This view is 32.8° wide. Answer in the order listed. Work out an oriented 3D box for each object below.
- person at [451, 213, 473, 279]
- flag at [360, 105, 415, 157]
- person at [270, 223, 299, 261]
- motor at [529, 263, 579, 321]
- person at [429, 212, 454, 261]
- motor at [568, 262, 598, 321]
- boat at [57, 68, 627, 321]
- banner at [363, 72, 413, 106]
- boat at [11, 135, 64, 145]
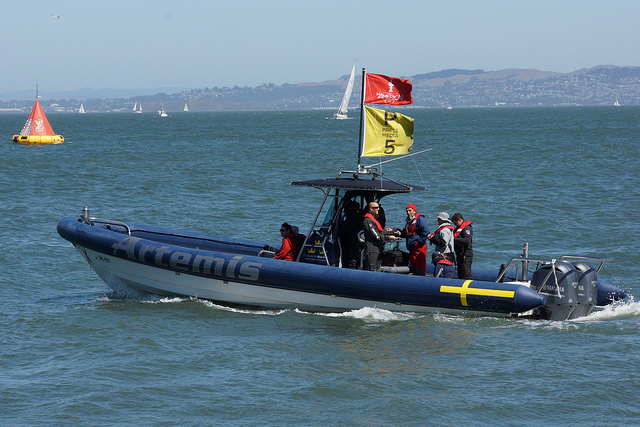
[{"bbox_3d":[3.813,0.871,29.091,0.584,1.726,0.488,4,8,16],"label":"person"},{"bbox_3d":[1.819,-2.218,29.612,1.722,1.363,0.160,-2,10,-30],"label":"flag"},{"bbox_3d":[-1.052,0.805,30.121,1.053,1.080,0.905,-2,15,-16],"label":"person"},{"bbox_3d":[6.249,2.216,29.074,1.211,1.865,1.010,5,8,34],"label":"motor"},{"bbox_3d":[3.244,0.626,28.967,0.672,1.277,0.361,2,8,6],"label":"person"},{"bbox_3d":[7.006,1.956,28.962,0.734,1.680,0.507,7,3,-14],"label":"motor"},{"bbox_3d":[-2.449,-0.652,34.076,22.333,7.730,6.853,5,1,17],"label":"boat"},{"bbox_3d":[1.924,-3.318,29.601,1.669,0.892,0.218,0,20,-21],"label":"banner"},{"bbox_3d":[-17.524,-4.592,67.743,3.154,0.529,3.295,-1,7,-22],"label":"boat"}]
